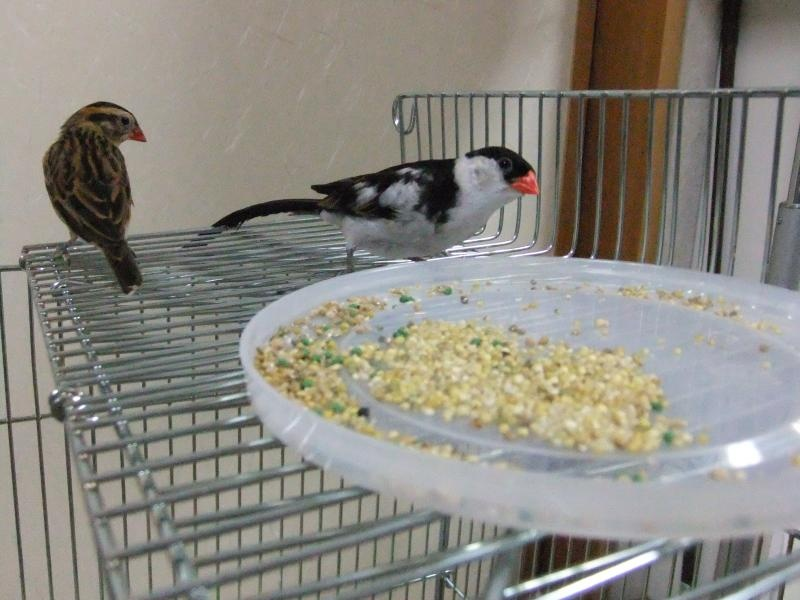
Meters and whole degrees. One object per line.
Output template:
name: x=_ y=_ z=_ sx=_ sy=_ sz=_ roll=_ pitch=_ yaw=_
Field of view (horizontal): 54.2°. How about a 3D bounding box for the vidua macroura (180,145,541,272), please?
vidua macroura: x=-0.049 y=-0.160 z=1.236 sx=0.508 sy=0.228 sz=0.160 roll=14 pitch=8 yaw=22
